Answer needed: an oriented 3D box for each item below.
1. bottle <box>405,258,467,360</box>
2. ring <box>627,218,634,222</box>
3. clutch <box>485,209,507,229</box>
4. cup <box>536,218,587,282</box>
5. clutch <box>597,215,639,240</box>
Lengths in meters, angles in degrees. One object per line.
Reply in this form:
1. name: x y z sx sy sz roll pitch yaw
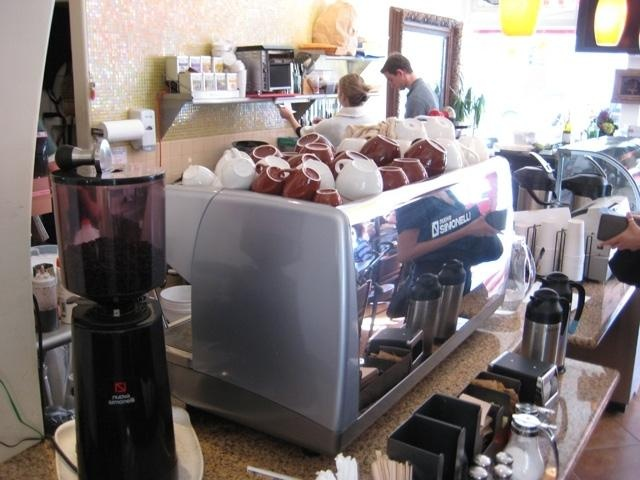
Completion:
1. bottle: 0.288 0.168 1.296 0.071 0.220 0.217 13 22 30
2. ring: 1.211 -0.078 1.992 0.019 0.009 0.027 -1 7 13
3. clutch: 0.535 -0.064 1.541 0.076 0.061 0.063 4 13 34
4. cup: 0.976 0.044 2.073 0.210 0.307 0.153 -3 13 -10
5. clutch: 1.133 -0.053 1.969 0.096 0.096 0.024 7 11 -3
